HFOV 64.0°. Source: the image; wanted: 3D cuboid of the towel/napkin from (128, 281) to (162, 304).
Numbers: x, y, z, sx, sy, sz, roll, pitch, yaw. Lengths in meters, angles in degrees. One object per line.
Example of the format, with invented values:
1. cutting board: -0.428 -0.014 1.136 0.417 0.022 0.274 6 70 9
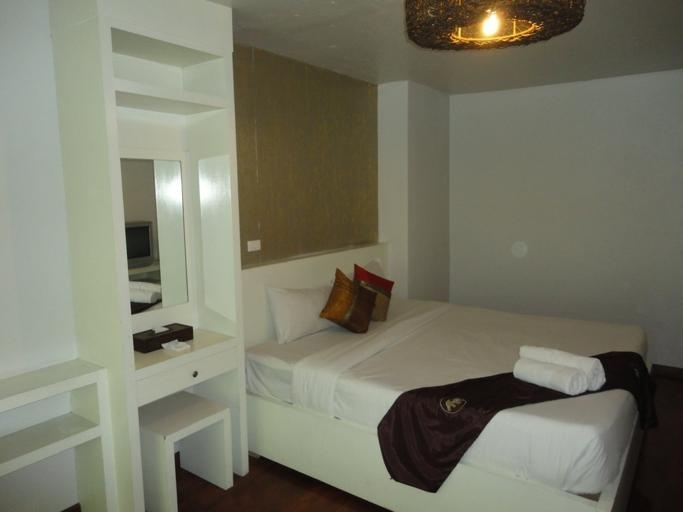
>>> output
1. towel/napkin: -1.309 0.239 3.631 0.132 0.046 0.139 12 16 16

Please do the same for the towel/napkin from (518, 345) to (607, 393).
1. towel/napkin: 1.317 0.697 3.397 0.365 0.179 0.301 12 24 39

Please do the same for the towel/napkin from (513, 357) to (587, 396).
1. towel/napkin: 1.279 0.700 3.381 0.297 0.126 0.186 12 22 42
